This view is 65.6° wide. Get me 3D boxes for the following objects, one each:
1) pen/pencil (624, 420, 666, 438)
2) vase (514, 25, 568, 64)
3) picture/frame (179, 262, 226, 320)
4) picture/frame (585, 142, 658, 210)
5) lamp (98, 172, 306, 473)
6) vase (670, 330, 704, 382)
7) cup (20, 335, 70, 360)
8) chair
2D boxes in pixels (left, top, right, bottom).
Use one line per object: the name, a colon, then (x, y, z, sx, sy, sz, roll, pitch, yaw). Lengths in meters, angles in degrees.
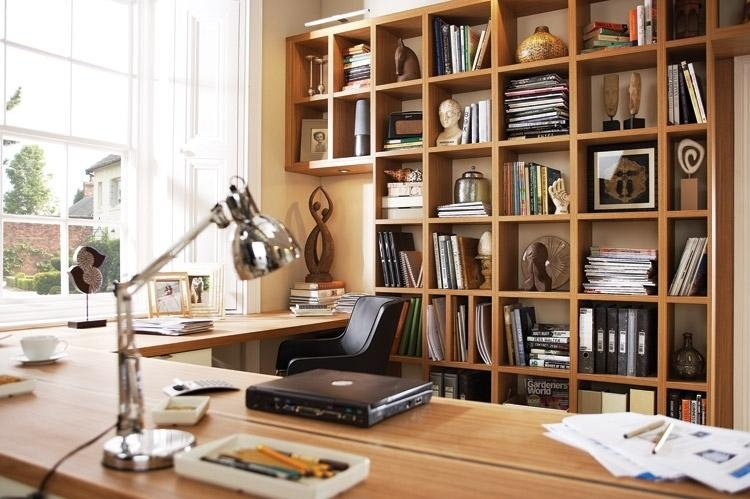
pen/pencil: (0.852, 0.568, 1.839, 0.028, 0.027, 0.254, 8, 6, 44)
vase: (1.119, -1.368, 3.891, 0.376, 0.222, 0.365, -16, 17, -32)
picture/frame: (-1.158, 0.284, 3.909, 0.392, 0.465, 0.039, -1, -2, -17)
picture/frame: (1.538, -0.449, 3.604, 0.435, 0.446, 0.034, -1, -8, 32)
lamp: (-0.550, 0.213, 1.826, 0.555, 0.828, 0.412, -1, 5, -23)
vase: (1.849, 0.627, 3.461, 0.264, 0.251, 0.260, 0, -1, 11)
cup: (-1.467, 0.434, 2.636, 0.126, 0.078, 0.154, -2, -8, 11)
chair: (-0.285, 0.511, 3.763, 0.705, 0.708, 0.526, 3, -4, -27)
